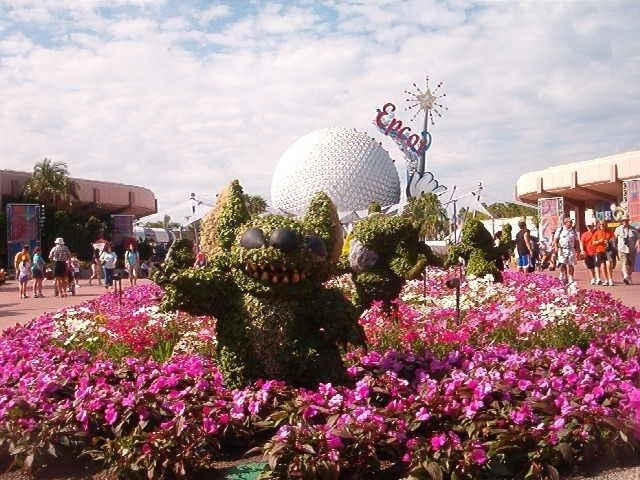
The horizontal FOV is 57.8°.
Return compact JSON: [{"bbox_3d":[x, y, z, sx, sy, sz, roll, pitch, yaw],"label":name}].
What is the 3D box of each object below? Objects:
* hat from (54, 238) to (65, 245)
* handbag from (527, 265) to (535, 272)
[{"bbox_3d":[-8.099,0.028,17.977,0.363,0.177,0.448,11,-10,-20],"label":"hat"},{"bbox_3d":[4.501,0.602,12.383,0.097,0.135,0.066,-1,-35,5],"label":"handbag"}]
